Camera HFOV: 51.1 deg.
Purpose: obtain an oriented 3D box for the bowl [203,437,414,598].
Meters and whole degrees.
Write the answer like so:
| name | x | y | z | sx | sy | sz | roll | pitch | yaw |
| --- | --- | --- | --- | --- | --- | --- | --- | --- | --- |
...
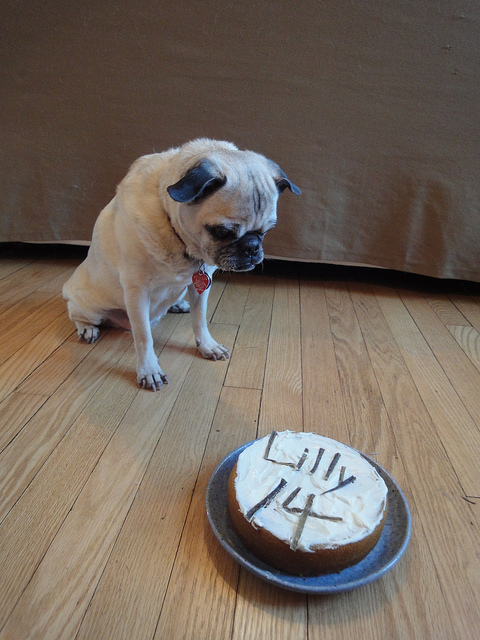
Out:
| name | x | y | z | sx | sy | sz | roll | pitch | yaw |
| --- | --- | --- | --- | --- | --- | --- | --- | --- | --- |
| bowl | 0.103 | 0.423 | 1.001 | 0.315 | 0.057 | 0.316 | 4 | 29 | -2 |

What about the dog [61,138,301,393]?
| name | x | y | z | sx | sy | sz | roll | pitch | yaw |
| --- | --- | --- | --- | --- | --- | --- | --- | --- | --- |
| dog | -0.272 | -0.227 | 1.785 | 0.492 | 0.773 | 0.899 | -15 | 25 | -37 |
